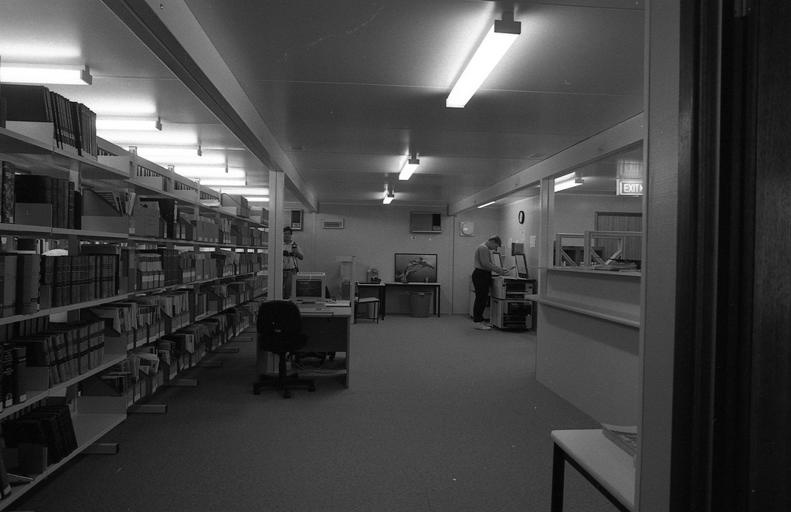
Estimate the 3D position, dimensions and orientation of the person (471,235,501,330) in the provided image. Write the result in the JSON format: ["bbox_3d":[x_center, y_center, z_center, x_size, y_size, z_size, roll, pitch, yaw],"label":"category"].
[{"bbox_3d":[1.554,0.441,10.163,0.466,1.548,0.768,2,8,4],"label":"person"}]

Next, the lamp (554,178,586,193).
[{"bbox_3d":[2.549,-1.048,8.735,0.383,0.181,1.817,3,8,16],"label":"lamp"}]

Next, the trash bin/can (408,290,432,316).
[{"bbox_3d":[0.474,0.937,11.428,0.447,0.384,0.446,0,-9,0],"label":"trash bin/can"}]

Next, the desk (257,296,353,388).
[{"bbox_3d":[-0.993,0.900,6.361,0.990,0.717,0.979,0,4,-2],"label":"desk"}]

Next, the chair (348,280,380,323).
[{"bbox_3d":[-0.596,0.874,11.077,0.610,0.726,0.784,0,4,-6],"label":"chair"}]

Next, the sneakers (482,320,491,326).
[{"bbox_3d":[1.613,1.204,10.554,0.079,0.105,0.261,-1,-10,-4],"label":"sneakers"}]

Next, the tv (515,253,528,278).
[{"bbox_3d":[2.209,0.195,10.414,0.174,0.411,0.415,-2,1,4],"label":"tv"}]

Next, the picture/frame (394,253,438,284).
[{"bbox_3d":[0.384,0.234,11.823,0.813,0.544,0.220,1,8,1],"label":"picture/frame"}]

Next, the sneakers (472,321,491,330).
[{"bbox_3d":[1.443,1.193,10.021,0.321,0.135,0.117,-1,1,8],"label":"sneakers"}]

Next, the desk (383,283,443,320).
[{"bbox_3d":[0.270,0.861,11.656,1.121,0.635,0.625,1,-2,-3],"label":"desk"}]
